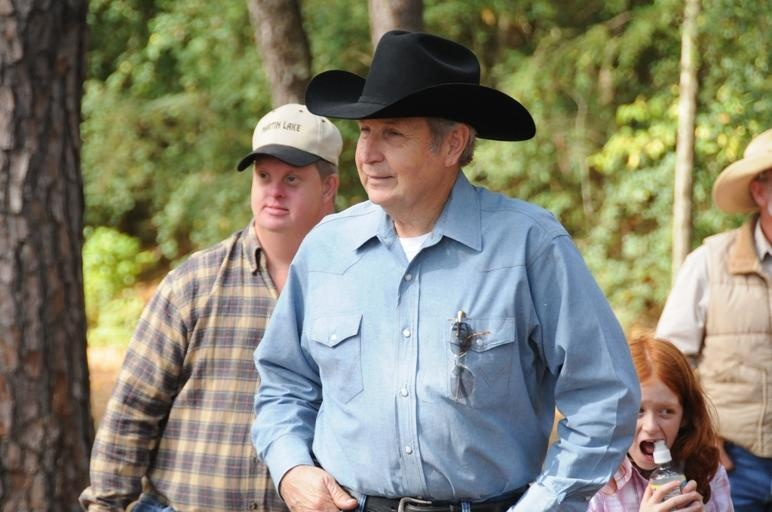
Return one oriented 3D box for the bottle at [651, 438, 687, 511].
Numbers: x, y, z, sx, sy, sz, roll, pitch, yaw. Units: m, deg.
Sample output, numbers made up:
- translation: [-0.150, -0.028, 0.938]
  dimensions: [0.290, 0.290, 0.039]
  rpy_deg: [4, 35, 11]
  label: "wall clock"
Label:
- translation: [1.951, 1.508, 10.084]
  dimensions: [0.243, 0.420, 0.239]
  rpy_deg: [-3, -11, -1]
  label: "bottle"
